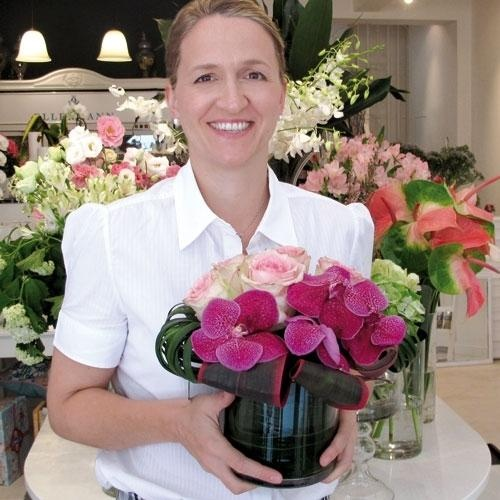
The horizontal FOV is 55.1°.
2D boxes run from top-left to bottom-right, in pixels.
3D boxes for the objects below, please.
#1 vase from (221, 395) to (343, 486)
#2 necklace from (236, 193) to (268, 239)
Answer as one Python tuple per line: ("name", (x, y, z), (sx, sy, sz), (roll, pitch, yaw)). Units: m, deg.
("vase", (0.035, 0.242, 0.654), (0.116, 0.120, 0.118), (-13, 34, -11))
("necklace", (0.014, -0.061, 0.942), (0.063, 0.083, 0.031), (1, -31, 48))
